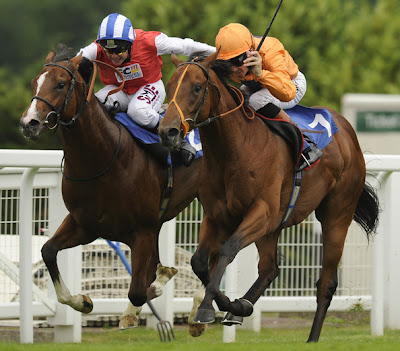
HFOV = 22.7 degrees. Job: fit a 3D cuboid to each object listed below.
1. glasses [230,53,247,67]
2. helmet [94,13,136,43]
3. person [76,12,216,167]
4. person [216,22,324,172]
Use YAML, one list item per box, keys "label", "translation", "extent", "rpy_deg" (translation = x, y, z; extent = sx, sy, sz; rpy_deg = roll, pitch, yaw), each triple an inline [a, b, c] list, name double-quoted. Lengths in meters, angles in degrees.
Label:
- label: "glasses"
  translation: [0.312, -0.951, 8.167]
  extent: [0.098, 0.068, 0.130]
  rpy_deg: [-16, 21, 50]
- label: "helmet"
  translation: [-0.737, -1.282, 8.650]
  extent: [0.325, 0.240, 0.233]
  rpy_deg: [-1, 9, -5]
- label: "person"
  translation: [-0.554, -0.764, 9.028]
  extent: [1.010, 1.222, 1.929]
  rpy_deg: [0, 3, 29]
- label: "person"
  translation: [0.544, -0.713, 8.716]
  extent: [0.746, 0.982, 1.467]
  rpy_deg: [9, -6, 30]
